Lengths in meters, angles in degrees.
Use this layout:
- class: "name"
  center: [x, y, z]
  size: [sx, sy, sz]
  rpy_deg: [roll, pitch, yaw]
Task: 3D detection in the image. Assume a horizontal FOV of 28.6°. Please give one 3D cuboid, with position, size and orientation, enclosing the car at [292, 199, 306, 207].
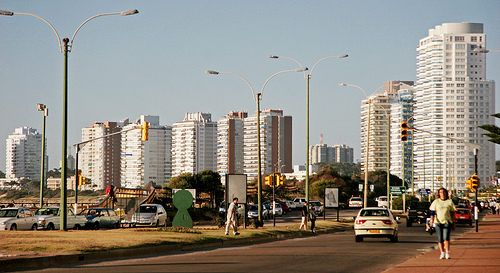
- class: "car"
  center: [15.841, 21.128, 313.275]
  size: [4.572, 2.164, 3.033]
  rpy_deg: [3, -5, -1]
